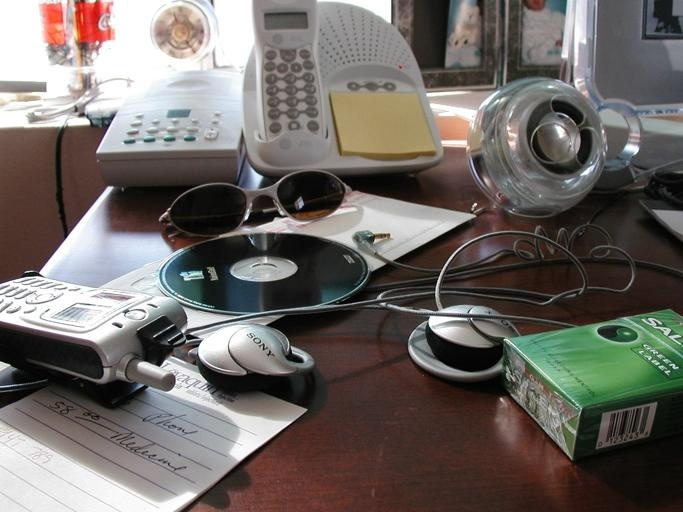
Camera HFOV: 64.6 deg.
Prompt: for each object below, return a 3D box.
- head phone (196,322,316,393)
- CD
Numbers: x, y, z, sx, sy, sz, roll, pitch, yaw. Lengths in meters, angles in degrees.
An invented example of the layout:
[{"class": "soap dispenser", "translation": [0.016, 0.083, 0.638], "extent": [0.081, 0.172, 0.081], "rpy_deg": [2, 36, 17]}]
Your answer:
[{"class": "head phone", "translation": [-0.066, 0.076, 0.416], "extent": [0.092, 0.034, 0.066], "rpy_deg": [4, 21, -5]}, {"class": "CD", "translation": [-0.081, 0.011, 0.554], "extent": [0.212, 0.003, 0.194], "rpy_deg": [-5, 25, -13]}]
